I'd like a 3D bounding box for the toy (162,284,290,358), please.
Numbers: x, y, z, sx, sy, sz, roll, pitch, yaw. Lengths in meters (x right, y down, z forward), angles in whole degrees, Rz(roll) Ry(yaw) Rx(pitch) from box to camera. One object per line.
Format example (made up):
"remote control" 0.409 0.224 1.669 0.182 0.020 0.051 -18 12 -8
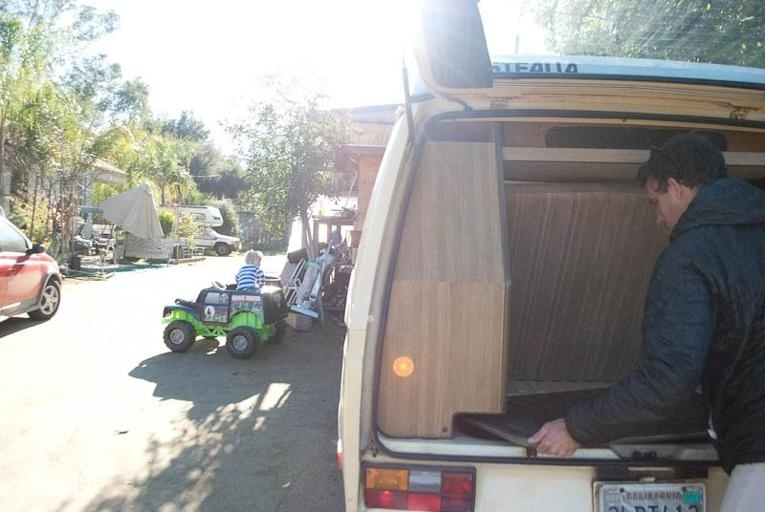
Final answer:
"toy" -2.471 0.975 10.030 1.489 1.037 1.138 3 2 8

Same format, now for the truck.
"truck" -8.652 -1.208 31.651 3.096 1.971 1.779 1 15 -2

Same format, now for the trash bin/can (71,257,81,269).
"trash bin/can" -8.661 0.219 17.738 0.217 0.439 0.362 -4 10 -37

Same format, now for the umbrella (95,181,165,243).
"umbrella" -7.360 -1.328 18.487 1.552 1.611 0.930 -2 9 -26
